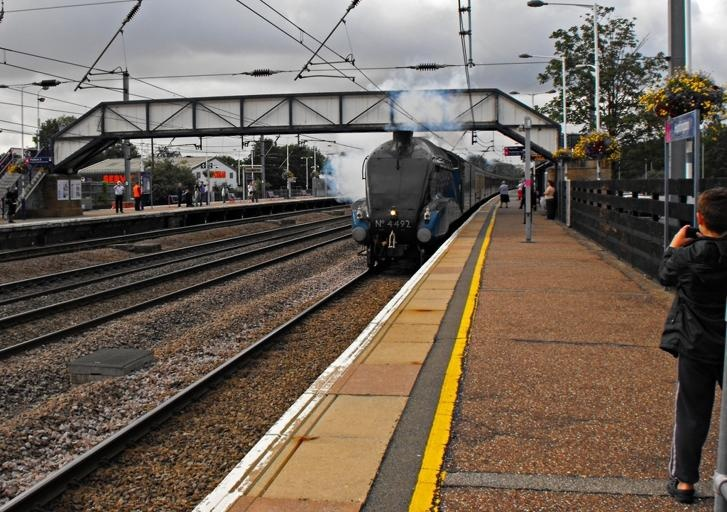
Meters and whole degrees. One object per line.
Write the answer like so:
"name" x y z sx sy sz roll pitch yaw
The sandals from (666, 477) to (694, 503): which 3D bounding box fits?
"sandals" 2.759 2.043 5.324 0.114 0.109 0.274 -2 6 15
